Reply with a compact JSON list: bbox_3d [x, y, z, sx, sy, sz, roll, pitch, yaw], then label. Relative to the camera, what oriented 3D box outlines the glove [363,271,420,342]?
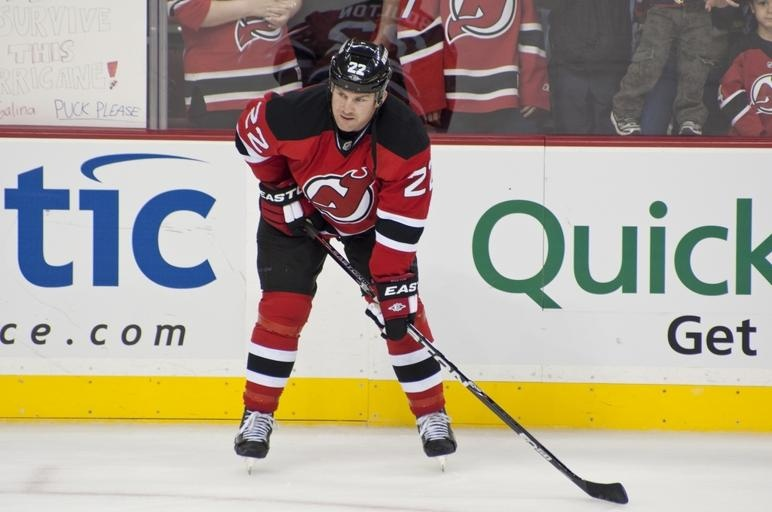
[{"bbox_3d":[0.049,0.278,7.149,0.339,0.374,0.330,-2,-2,0],"label":"glove"}]

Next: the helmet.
[{"bbox_3d":[-0.095,-0.944,6.913,0.295,0.311,0.307,11,-25,6],"label":"helmet"}]

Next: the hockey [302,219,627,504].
[{"bbox_3d":[0.512,0.568,7.424,0.290,1.933,0.178,-40,-19,-17],"label":"hockey"}]

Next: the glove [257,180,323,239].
[{"bbox_3d":[-0.484,-0.251,7.162,0.344,0.247,0.286,6,-36,26],"label":"glove"}]
